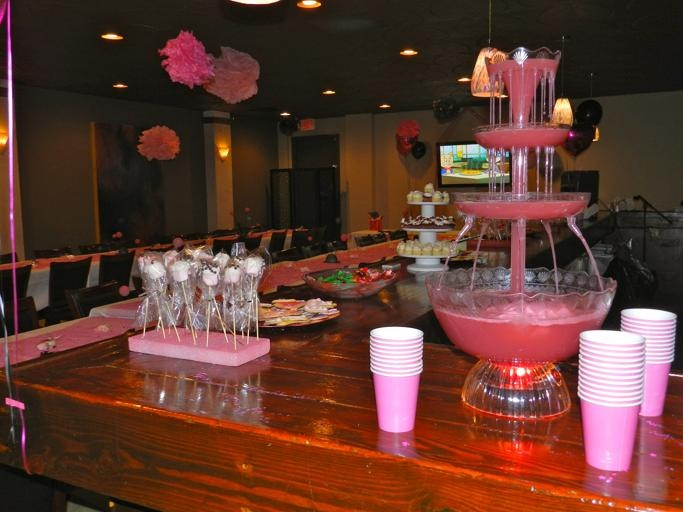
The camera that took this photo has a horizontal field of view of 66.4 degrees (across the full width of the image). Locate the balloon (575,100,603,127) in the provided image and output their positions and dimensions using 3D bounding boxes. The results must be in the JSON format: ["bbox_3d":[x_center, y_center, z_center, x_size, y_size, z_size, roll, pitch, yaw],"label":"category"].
[{"bbox_3d":[3.182,-1.860,6.727,0.286,0.371,0.490,1,8,23],"label":"balloon"}]

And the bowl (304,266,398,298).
[{"bbox_3d":[0.037,0.117,2.355,0.391,0.112,0.369,-1,7,0],"label":"bowl"}]

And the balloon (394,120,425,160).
[{"bbox_3d":[1.325,-2.263,9.980,0.499,0.694,0.800,-1,7,9],"label":"balloon"}]

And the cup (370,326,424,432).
[{"bbox_3d":[0.114,0.244,1.063,0.100,0.201,0.144,-1,7,5],"label":"cup"}]

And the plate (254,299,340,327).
[{"bbox_3d":[-0.142,0.195,1.833,0.277,0.081,0.346,-2,7,-4],"label":"plate"}]

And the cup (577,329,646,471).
[{"bbox_3d":[0.452,0.256,0.881,0.094,0.236,0.048,2,9,26],"label":"cup"}]
